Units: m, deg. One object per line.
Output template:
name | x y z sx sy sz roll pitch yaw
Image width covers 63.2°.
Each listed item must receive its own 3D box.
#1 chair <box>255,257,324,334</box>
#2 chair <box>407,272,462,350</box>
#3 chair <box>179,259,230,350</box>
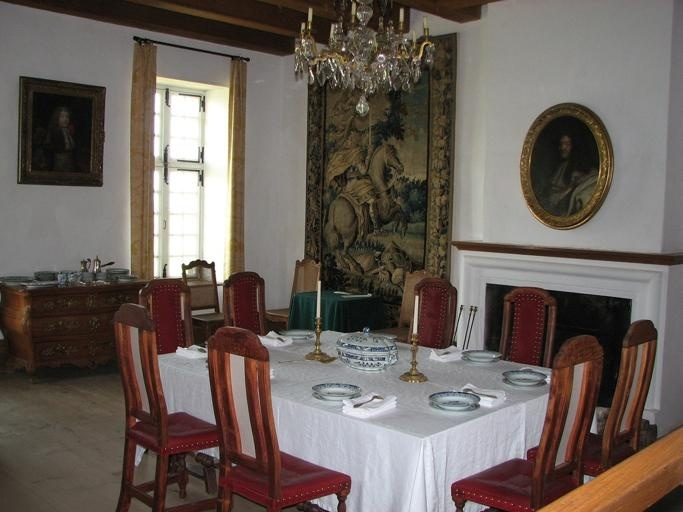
chair | -0.652 0.709 7.479 0.672 1.357 0.676 3 1 -37
chair | 0.795 0.469 4.858 0.427 0.790 0.467 15 27 29
chair | -1.691 0.711 7.162 0.611 1.289 0.641 -1 3 18
